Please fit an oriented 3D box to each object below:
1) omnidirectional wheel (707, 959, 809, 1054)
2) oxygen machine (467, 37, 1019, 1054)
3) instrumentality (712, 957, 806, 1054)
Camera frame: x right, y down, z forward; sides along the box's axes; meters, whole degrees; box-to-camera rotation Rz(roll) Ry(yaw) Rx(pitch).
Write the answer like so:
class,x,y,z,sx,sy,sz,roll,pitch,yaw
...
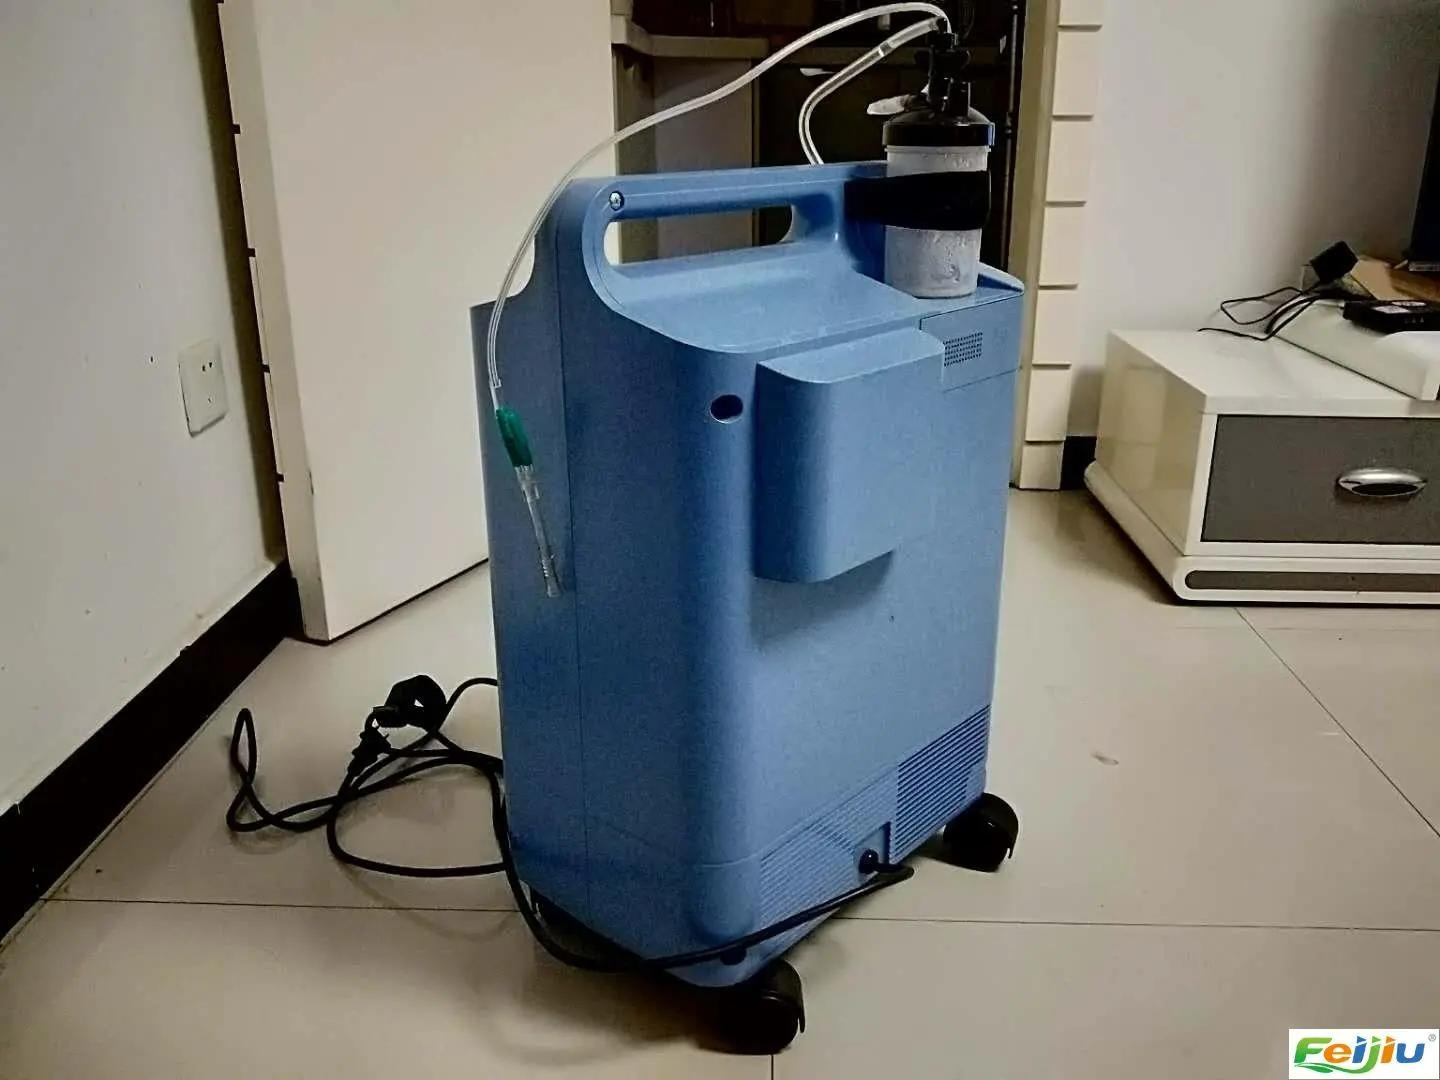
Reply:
class,x,y,z,sx,sy,sz,roll,pitch,yaw
omnidirectional wheel,0.032,0.393,0.974,0.059,0.075,0.071,-2,-4,22
oxygen machine,0.059,-0.034,1.088,0.462,0.818,0.341,-16,23,-38
instrumentality,0.034,0.395,0.974,0.061,0.073,0.069,-3,0,-9
